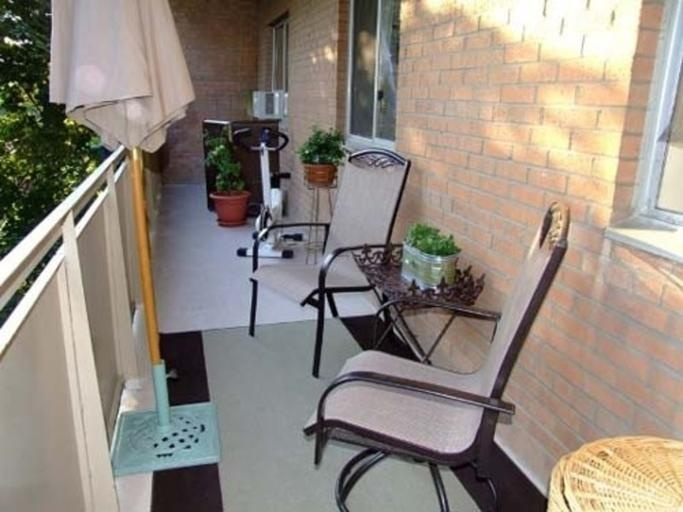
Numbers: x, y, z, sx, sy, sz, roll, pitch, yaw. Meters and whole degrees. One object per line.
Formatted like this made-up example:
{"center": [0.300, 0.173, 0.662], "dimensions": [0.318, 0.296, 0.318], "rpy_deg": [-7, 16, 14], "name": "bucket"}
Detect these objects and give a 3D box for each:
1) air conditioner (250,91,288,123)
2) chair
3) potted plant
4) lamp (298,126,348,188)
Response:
{"center": [-0.890, -1.811, 5.840], "dimensions": [0.383, 0.315, 0.381], "rpy_deg": [17, 24, 41], "name": "air conditioner"}
{"center": [0.342, 0.362, 2.283], "dimensions": [0.664, 0.885, 1.609], "rpy_deg": [0, 17, -14], "name": "chair"}
{"center": [-1.454, -0.934, 6.171], "dimensions": [0.461, 1.039, 0.482], "rpy_deg": [-1, 10, -10], "name": "potted plant"}
{"center": [-0.201, -0.882, 4.340], "dimensions": [0.429, 0.653, 0.612], "rpy_deg": [-2, 23, -7], "name": "lamp"}
